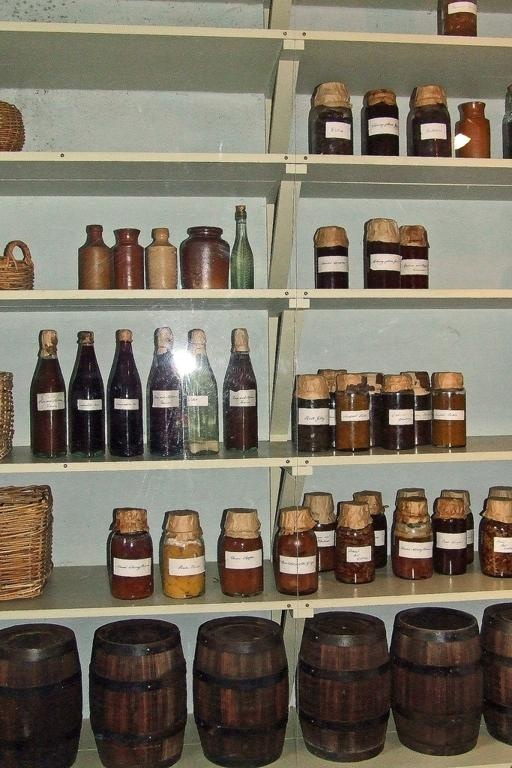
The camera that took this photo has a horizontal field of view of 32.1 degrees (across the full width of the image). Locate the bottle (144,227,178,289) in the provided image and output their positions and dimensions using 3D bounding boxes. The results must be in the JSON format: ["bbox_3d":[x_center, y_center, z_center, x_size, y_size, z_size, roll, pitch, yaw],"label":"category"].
[{"bbox_3d":[-0.184,-0.243,1.735,0.064,0.123,0.087,-2,0,-11],"label":"bottle"}]

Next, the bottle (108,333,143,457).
[{"bbox_3d":[-0.267,0.020,1.800,0.073,0.255,0.147,-2,0,-8],"label":"bottle"}]

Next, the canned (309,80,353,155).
[{"bbox_3d":[0.149,-0.523,1.791,0.090,0.147,0.116,-2,0,6],"label":"canned"}]

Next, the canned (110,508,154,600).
[{"bbox_3d":[-0.240,0.325,1.712,0.078,0.176,0.043,-2,0,-12],"label":"canned"}]

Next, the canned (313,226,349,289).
[{"bbox_3d":[0.151,-0.251,1.792,0.070,0.127,0.106,-2,0,4],"label":"canned"}]

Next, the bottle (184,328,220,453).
[{"bbox_3d":[-0.108,0.014,1.744,0.079,0.248,0.059,-2,0,-16],"label":"bottle"}]

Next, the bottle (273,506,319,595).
[{"bbox_3d":[0.077,0.323,1.744,0.078,0.171,0.063,-2,0,9],"label":"bottle"}]

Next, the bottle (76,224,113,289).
[{"bbox_3d":[-0.317,-0.248,1.739,0.059,0.129,0.061,-2,0,0],"label":"bottle"}]

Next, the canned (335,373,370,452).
[{"bbox_3d":[0.195,0.056,1.786,0.086,0.155,0.055,-2,0,-12],"label":"canned"}]

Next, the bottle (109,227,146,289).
[{"bbox_3d":[-0.247,-0.241,1.719,0.061,0.121,0.058,-2,0,0],"label":"bottle"}]

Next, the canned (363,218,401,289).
[{"bbox_3d":[0.253,-0.263,1.801,0.067,0.141,0.049,-2,0,13],"label":"canned"}]

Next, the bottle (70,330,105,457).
[{"bbox_3d":[-0.343,0.029,1.795,0.073,0.246,0.127,-2,0,-9],"label":"bottle"}]

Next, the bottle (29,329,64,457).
[{"bbox_3d":[-0.419,0.016,1.787,0.071,0.258,0.119,-2,0,-13],"label":"bottle"}]

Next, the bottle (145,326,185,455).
[{"bbox_3d":[-0.184,0.014,1.748,0.056,0.256,0.097,-3,0,-27],"label":"bottle"}]

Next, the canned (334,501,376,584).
[{"bbox_3d":[0.205,0.319,1.811,0.095,0.164,0.062,-2,0,-13],"label":"canned"}]

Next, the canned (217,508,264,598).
[{"bbox_3d":[-0.032,0.326,1.746,0.091,0.169,0.096,-2,0,-2],"label":"canned"}]

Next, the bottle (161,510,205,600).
[{"bbox_3d":[-0.142,0.331,1.724,0.081,0.168,0.055,-2,0,-7],"label":"bottle"}]

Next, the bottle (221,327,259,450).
[{"bbox_3d":[-0.032,0.010,1.795,0.082,0.247,0.038,-2,0,-17],"label":"bottle"}]

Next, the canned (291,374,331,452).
[{"bbox_3d":[0.109,0.058,1.769,0.077,0.155,0.071,-2,0,3],"label":"canned"}]
